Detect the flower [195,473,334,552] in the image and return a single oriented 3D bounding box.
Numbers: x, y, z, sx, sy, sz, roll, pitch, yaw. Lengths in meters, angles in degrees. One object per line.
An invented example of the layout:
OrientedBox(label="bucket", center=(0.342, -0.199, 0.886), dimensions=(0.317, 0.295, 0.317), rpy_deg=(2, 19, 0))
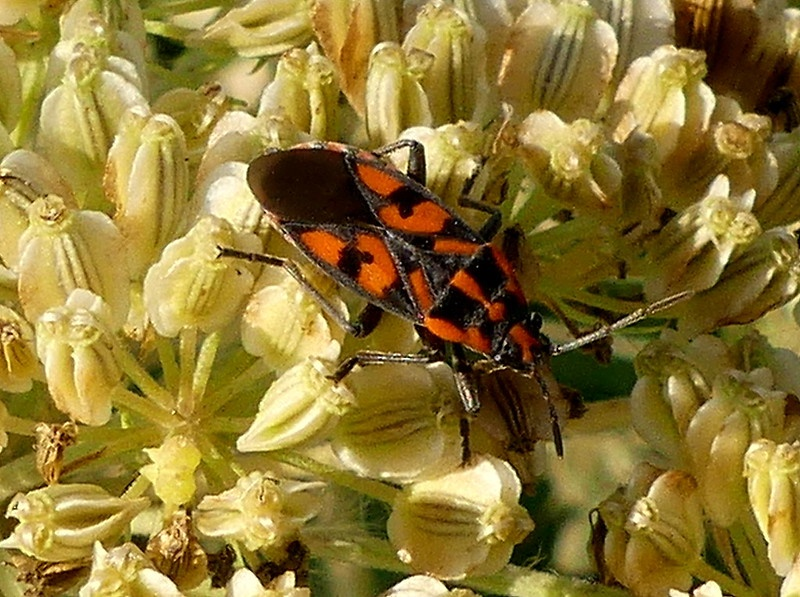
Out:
OrientedBox(label="flower", center=(-0.600, 0.934, 6.054), dimensions=(0.438, 0.155, 0.349), rpy_deg=(-10, 60, -29))

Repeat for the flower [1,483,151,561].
OrientedBox(label="flower", center=(-1.428, 0.969, 5.951), dimensions=(0.533, 0.285, 0.362), rpy_deg=(12, 75, 6))
